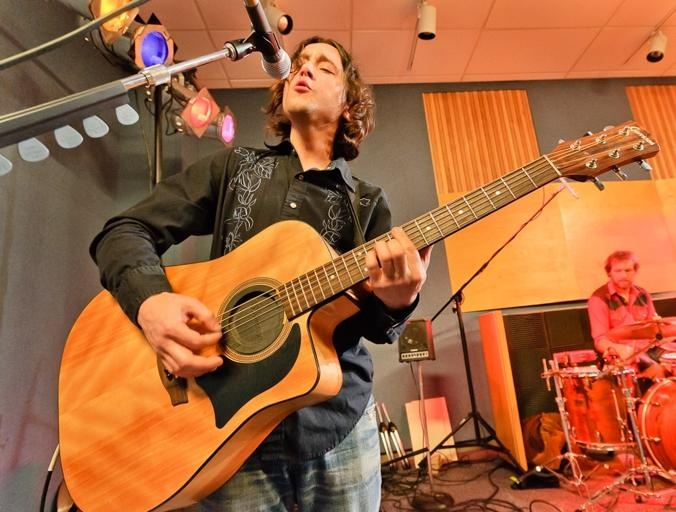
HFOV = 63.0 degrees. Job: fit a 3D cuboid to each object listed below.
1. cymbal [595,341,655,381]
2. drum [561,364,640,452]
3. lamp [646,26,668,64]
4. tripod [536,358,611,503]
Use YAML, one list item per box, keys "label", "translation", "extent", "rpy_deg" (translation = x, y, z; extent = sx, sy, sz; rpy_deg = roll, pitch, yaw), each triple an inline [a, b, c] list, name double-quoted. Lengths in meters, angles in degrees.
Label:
- label: "cymbal"
  translation: [2.291, 0.785, 4.319]
  extent: [0.331, 0.247, 0.481]
  rpy_deg: [-7, 0, -39]
- label: "drum"
  translation: [1.832, 1.030, 4.025]
  extent: [0.545, 0.597, 0.559]
  rpy_deg: [-6, 5, 44]
- label: "lamp"
  translation: [3.022, -2.028, 5.220]
  extent: [0.153, 0.260, 0.147]
  rpy_deg: [36, -36, -15]
- label: "tripod"
  translation: [1.728, 1.305, 4.007]
  extent: [0.481, 0.792, 0.520]
  rpy_deg: [-11, 17, 46]
